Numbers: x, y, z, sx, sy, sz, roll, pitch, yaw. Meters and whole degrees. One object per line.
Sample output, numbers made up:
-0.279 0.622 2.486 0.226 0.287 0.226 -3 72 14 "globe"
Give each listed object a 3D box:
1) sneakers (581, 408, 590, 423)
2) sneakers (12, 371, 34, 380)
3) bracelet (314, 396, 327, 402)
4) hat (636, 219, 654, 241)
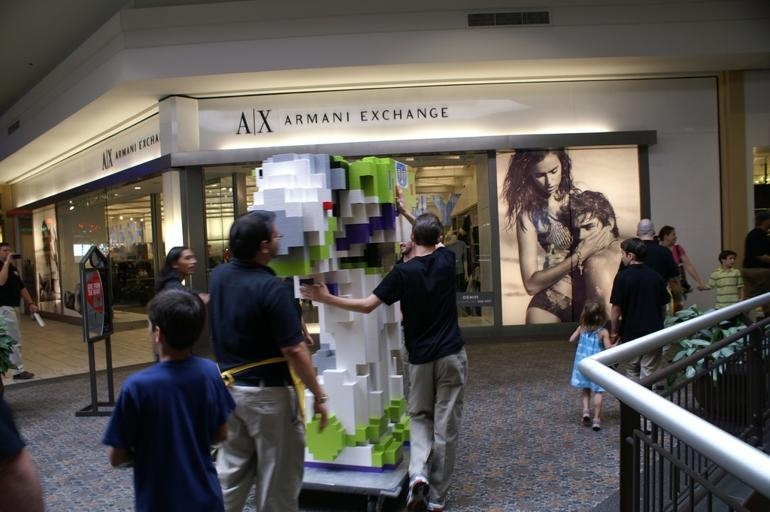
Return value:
2.399 1.938 6.927 0.080 0.112 0.245 0 -38 7 "sneakers"
-6.204 2.060 9.969 0.369 0.152 0.148 -1 4 -9 "sneakers"
-0.516 1.143 4.626 0.071 0.028 0.073 0 -6 3 "bracelet"
3.346 -0.339 7.437 0.176 0.178 0.306 4 21 19 "hat"
